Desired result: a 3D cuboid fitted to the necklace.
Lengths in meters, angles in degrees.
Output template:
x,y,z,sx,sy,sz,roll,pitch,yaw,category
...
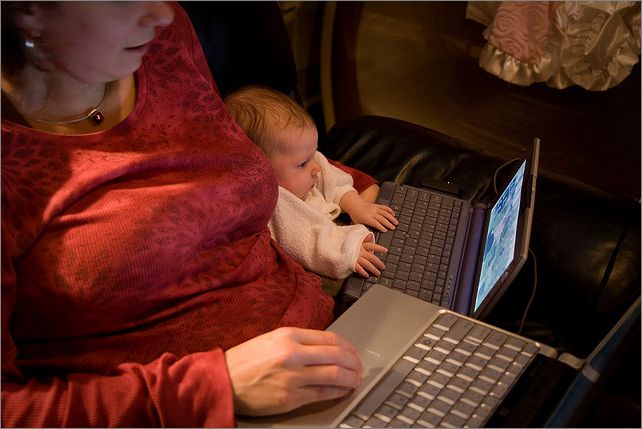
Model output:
x,y,z,sx,sy,sz,roll,pitch,yaw,category
-0.426,-0.185,0.872,0.091,0.032,0.087,19,76,-33,necklace
